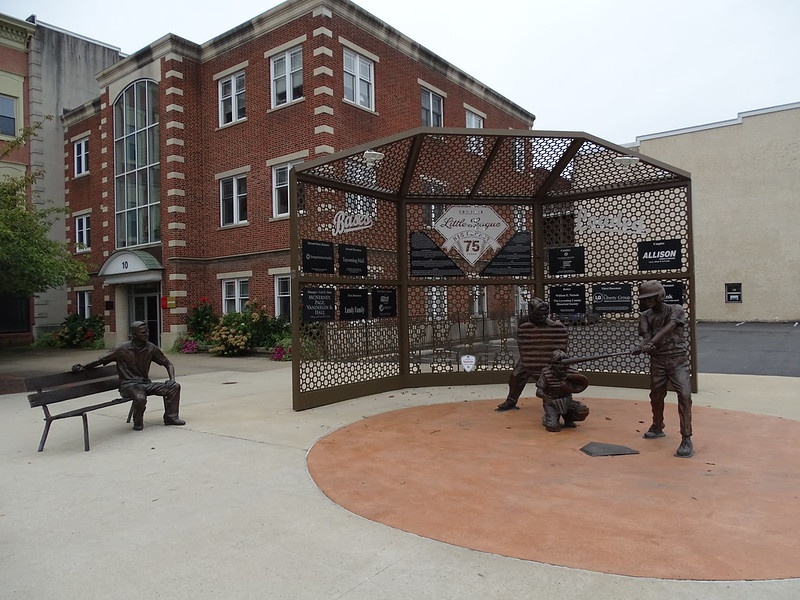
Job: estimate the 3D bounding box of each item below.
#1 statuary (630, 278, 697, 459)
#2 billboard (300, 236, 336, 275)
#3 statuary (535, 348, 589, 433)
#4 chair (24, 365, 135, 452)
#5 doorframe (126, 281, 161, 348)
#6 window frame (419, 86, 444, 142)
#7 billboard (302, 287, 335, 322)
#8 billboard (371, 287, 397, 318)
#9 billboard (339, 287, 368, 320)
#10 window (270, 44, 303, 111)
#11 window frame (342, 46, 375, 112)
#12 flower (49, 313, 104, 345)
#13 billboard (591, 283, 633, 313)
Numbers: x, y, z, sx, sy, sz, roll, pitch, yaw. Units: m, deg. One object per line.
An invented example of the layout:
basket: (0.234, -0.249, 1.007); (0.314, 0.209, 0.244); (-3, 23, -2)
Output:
statuary: (3.685, 0.875, 8.153); (0.788, 2.247, 1.106); (1, 6, 24)
billboard: (-1.574, -0.847, 11.171); (0.085, 0.647, 0.799); (-7, -6, 44)
statuary: (2.498, 1.413, 9.034); (0.800, 1.145, 0.703); (-2, 10, 9)
chair: (-5.361, 1.645, 9.678); (1.263, 1.201, 3.042); (-4, 6, -32)
doorframe: (-9.246, 0.374, 21.411); (2.702, 3.049, 0.268); (-3, -4, 36)
window frame: (1.295, -8.463, 25.657); (0.171, 1.445, 1.752); (7, 0, 41)
billboard: (-1.557, 0.085, 11.105); (0.697, 0.579, 0.073); (3, -2, -44)
billboard: (-0.344, 0.047, 12.245); (0.069, 0.444, 0.620); (-6, 6, 37)
billboard: (-0.939, 0.070, 11.673); (0.691, 0.573, 0.096); (3, -2, -43)
window: (-4.162, -8.209, 21.565); (0.503, 1.938, 1.585); (-6, 7, -43)
window frame: (-1.462, -8.276, 22.000); (0.299, 1.956, 1.594); (3, 7, 38)
flower: (-14.988, 1.568, 27.565); (1.905, 1.320, 1.868); (-6, -3, -43)
billboard: (4.404, -0.035, 12.022); (0.610, 0.498, 0.093); (-3, -7, 37)
